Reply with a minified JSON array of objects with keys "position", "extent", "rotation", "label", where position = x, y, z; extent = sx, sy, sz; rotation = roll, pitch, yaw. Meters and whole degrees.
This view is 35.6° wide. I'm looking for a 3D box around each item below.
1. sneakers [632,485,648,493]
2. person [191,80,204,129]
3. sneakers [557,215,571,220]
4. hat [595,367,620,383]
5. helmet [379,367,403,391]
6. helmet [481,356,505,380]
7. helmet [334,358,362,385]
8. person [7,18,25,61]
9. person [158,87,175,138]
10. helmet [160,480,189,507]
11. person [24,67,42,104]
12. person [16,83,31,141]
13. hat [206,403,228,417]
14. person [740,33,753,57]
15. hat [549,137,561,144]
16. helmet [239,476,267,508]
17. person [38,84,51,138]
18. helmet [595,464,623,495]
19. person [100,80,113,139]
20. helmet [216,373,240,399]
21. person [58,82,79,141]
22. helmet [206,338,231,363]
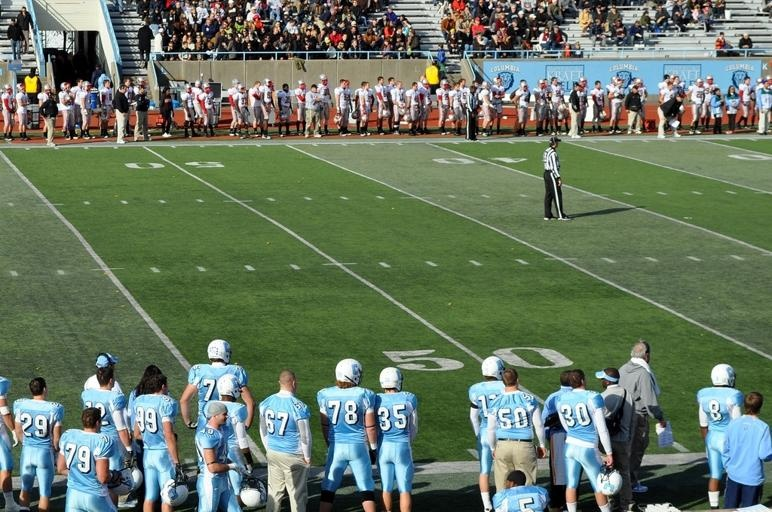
[{"position":[3.253,2.917,15.185],"extent":[0.235,0.088,0.086],"rotation":[1,-27,0],"label":"sneakers"},{"position":[-5.987,-4.898,38.353],"extent":[0.338,1.365,1.217],"rotation":[-5,8,-9],"label":"person"},{"position":[4.066,-0.867,26.900],"extent":[0.275,0.105,0.092],"rotation":[5,6,34],"label":"sneakers"},{"position":[2.776,1.478,14.960],"extent":[0.297,0.137,0.196],"rotation":[21,20,19],"label":"hat"},{"position":[0.057,1.429,14.385],"extent":[0.281,0.250,0.313],"rotation":[2,13,14],"label":"helmet"},{"position":[1.322,1.330,14.555],"extent":[0.263,0.257,0.317],"rotation":[12,25,39],"label":"helmet"},{"position":[-0.408,1.340,14.294],"extent":[0.345,0.274,0.255],"rotation":[-11,17,-36],"label":"helmet"},{"position":[-13.454,-7.850,43.542],"extent":[0.549,1.422,0.981],"rotation":[-5,8,-16],"label":"person"},{"position":[-6.969,-4.565,38.116],"extent":[0.366,1.589,0.769],"rotation":[-5,8,-12],"label":"person"},{"position":[-2.402,2.751,14.023],"extent":[0.348,0.285,0.261],"rotation":[6,-5,15],"label":"helmet"},{"position":[-11.584,-5.422,39.343],"extent":[0.532,1.355,0.474],"rotation":[6,9,17],"label":"person"},{"position":[-11.369,-4.519,37.395],"extent":[0.405,1.724,1.559],"rotation":[-6,8,-16],"label":"person"},{"position":[-1.947,1.749,13.827],"extent":[0.228,0.179,0.225],"rotation":[-5,8,-14],"label":"hat"},{"position":[14.642,-8.465,48.132],"extent":[0.496,0.871,1.390],"rotation":[-1,8,17],"label":"person"},{"position":[3.771,-2.532,26.241],"extent":[0.173,0.134,0.256],"rotation":[21,39,41],"label":"hat"},{"position":[-1.539,2.726,13.959],"extent":[0.306,0.348,0.369],"rotation":[-4,8,-6],"label":"helmet"},{"position":[-10.072,-4.205,35.734],"extent":[0.386,1.614,1.286],"rotation":[-6,8,-17],"label":"person"},{"position":[2.693,2.635,14.206],"extent":[0.389,0.323,0.287],"rotation":[-3,-4,-13],"label":"helmet"},{"position":[-8.940,-4.697,38.318],"extent":[0.472,1.782,1.503],"rotation":[-5,8,-12],"label":"person"},{"position":[-1.850,1.502,14.219],"extent":[0.269,0.242,0.289],"rotation":[6,19,36],"label":"helmet"},{"position":[-9.821,-4.492,37.096],"extent":[0.485,1.739,1.568],"rotation":[-5,8,-15],"label":"person"},{"position":[-2.032,1.158,14.883],"extent":[0.303,0.289,0.332],"rotation":[3,17,6],"label":"helmet"}]
